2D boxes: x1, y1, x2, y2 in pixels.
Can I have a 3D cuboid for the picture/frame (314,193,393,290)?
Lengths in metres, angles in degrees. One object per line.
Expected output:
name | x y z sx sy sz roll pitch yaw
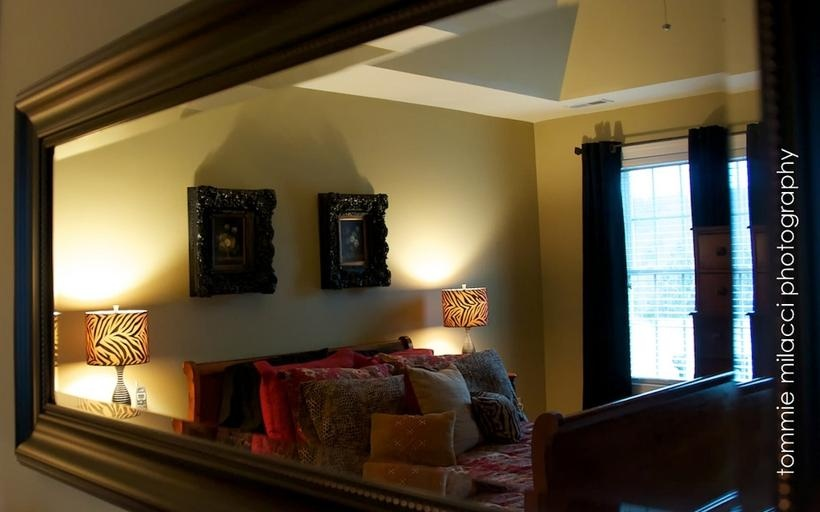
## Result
picture/frame | -0.083 -0.022 0.922 0.157 0.199 0.029 -2 -2 34

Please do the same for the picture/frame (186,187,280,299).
picture/frame | -0.325 -0.023 1.116 0.229 0.242 0.027 1 3 27
